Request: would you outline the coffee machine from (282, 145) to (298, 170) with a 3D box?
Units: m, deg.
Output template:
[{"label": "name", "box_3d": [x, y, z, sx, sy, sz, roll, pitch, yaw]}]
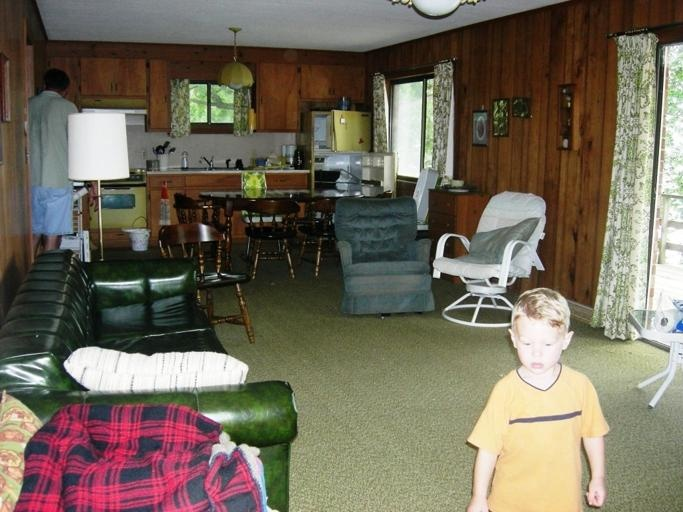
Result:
[{"label": "coffee machine", "box_3d": [-0.871, -1.664, 9.208, 0.267, 0.393, 0.307, -3, 11, -4]}]

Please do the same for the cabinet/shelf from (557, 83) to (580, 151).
[{"label": "cabinet/shelf", "box_3d": [2.137, -1.294, 5.184, 0.077, 0.608, 0.216, -9, 13, -28]}]

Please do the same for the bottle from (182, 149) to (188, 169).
[{"label": "bottle", "box_3d": [-2.508, -1.536, 8.792, 0.100, 0.248, 0.201, -3, 11, -3]}]

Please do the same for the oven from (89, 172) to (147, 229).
[{"label": "oven", "box_3d": [-3.493, -0.830, 8.222, 0.625, 0.958, 0.932, 11, 12, 34]}]

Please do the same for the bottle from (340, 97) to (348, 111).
[{"label": "bottle", "box_3d": [0.054, -2.416, 8.804, 0.151, 0.214, 0.139, -2, 11, 0]}]

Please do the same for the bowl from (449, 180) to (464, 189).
[{"label": "bowl", "box_3d": [1.356, -0.840, 6.561, 0.118, 0.081, 0.109, -1, 5, 0]}]

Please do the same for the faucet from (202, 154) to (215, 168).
[{"label": "faucet", "box_3d": [-2.125, -1.525, 8.948, 0.193, 0.189, 0.234, -11, 14, -36]}]
